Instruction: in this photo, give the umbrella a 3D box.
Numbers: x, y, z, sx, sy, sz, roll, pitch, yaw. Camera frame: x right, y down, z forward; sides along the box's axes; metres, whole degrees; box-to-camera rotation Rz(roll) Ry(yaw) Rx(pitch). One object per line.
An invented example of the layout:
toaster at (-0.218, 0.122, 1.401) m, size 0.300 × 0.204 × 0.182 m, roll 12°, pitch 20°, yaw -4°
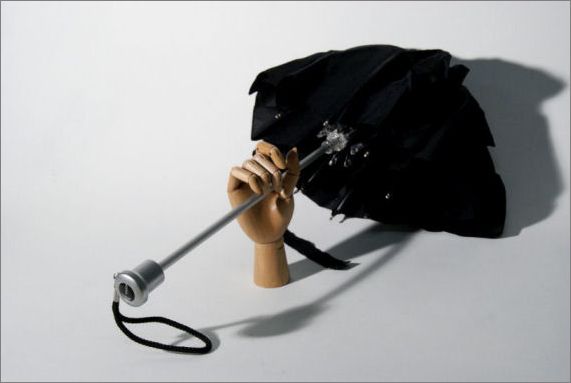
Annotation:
umbrella at (0.208, 0.205, 2.517) m, size 0.985 × 0.795 × 1.539 m, roll 20°, pitch 38°, yaw 32°
